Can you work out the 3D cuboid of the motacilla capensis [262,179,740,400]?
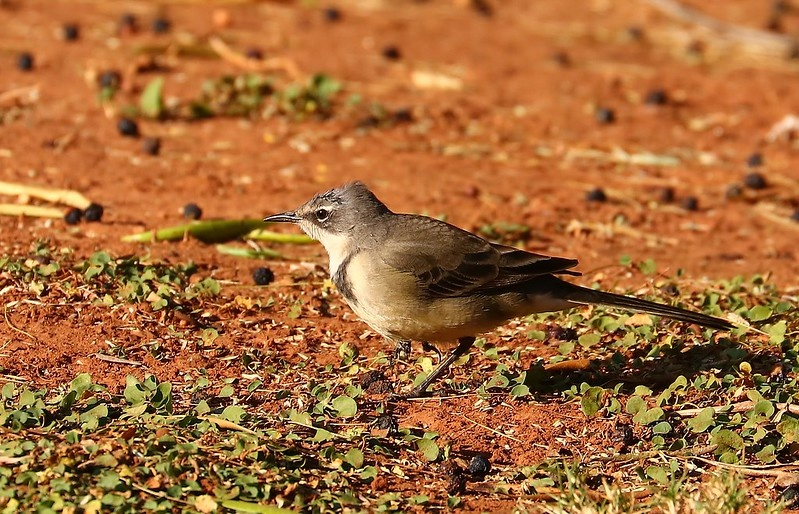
[{"bbox_3d":[0.351,0.335,6.876,3.417,1.672,3.784,-6,9,-36],"label":"motacilla capensis"}]
